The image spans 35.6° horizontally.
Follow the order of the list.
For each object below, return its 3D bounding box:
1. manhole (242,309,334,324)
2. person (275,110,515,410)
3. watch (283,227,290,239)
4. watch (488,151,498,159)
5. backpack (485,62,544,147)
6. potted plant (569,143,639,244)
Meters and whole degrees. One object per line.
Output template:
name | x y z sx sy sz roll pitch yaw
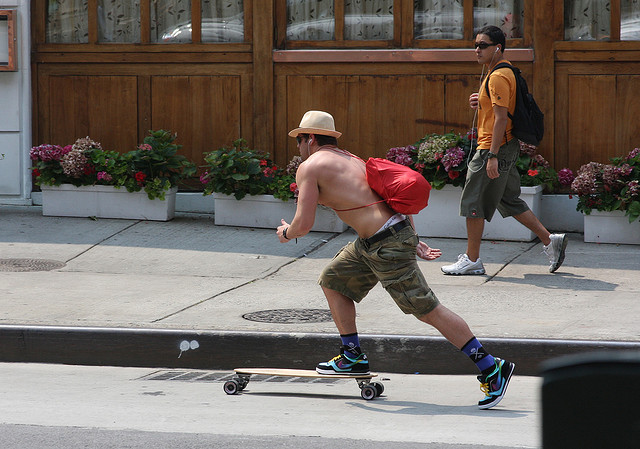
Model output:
manhole | -0.284 0.868 9.386 0.822 0.052 0.536 -2 6 -3
person | 0.533 0.409 8.012 1.605 2.018 0.471 0 7 14
watch | -0.254 0.067 7.984 0.046 0.094 0.033 1 7 24
watch | 1.831 -0.743 10.561 0.092 0.053 0.095 2 0 -29
backpack | 2.165 -1.271 10.867 0.537 0.708 0.558 1 10 30
potted plant | 3.574 -0.338 12.311 0.784 1.136 0.526 1 7 28
